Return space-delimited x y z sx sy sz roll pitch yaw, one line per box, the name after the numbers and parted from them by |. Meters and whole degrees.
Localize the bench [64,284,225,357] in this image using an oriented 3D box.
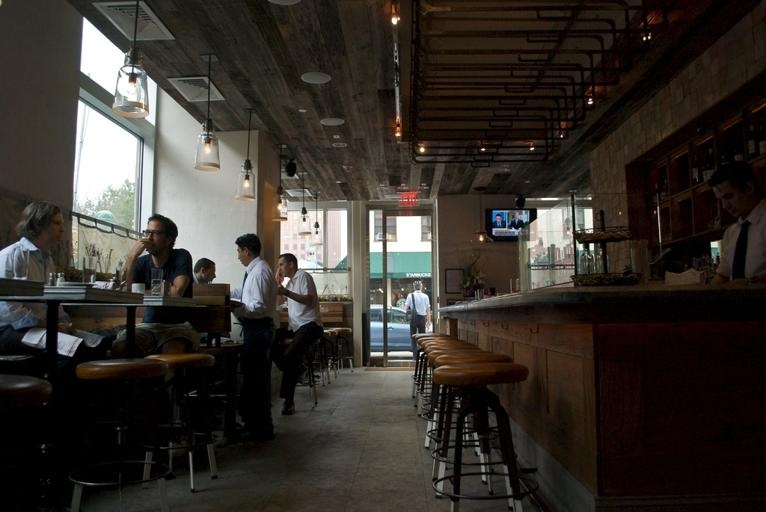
-1.902 0.596 4.922 1.107 0.487 0.727 0 -10 -4 | bench

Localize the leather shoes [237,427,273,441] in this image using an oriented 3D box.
-1.283 1.757 5.570 0.379 0.121 0.198 -2 -6 9 | leather shoes

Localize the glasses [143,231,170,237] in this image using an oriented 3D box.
-1.993 -0.191 4.942 0.204 0.061 0.111 0 -6 -14 | glasses

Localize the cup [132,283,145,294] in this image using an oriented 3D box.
-1.912 0.251 4.360 0.104 0.074 0.102 0 -3 0 | cup

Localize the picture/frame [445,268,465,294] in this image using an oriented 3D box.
1.522 0.536 11.789 0.548 0.649 0.029 1 -7 0 | picture/frame

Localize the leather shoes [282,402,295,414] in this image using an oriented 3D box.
-1.142 1.812 6.685 0.091 0.110 0.164 2 12 -4 | leather shoes

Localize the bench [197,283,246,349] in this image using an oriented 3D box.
-1.628 0.572 5.607 0.501 0.643 0.708 0 -5 -4 | bench

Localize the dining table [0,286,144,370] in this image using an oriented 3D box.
-2.047 0.598 3.739 0.562 0.506 0.988 0 -8 2 | dining table

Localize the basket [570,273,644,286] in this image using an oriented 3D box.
1.452 0.150 3.649 0.401 0.071 0.132 -4 -7 24 | basket

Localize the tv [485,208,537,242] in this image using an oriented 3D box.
2.654 -0.674 11.874 1.177 0.697 0.117 0 -1 -24 | tv

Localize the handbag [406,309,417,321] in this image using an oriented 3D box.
0.633 1.331 12.550 0.282 0.347 0.199 0 -15 6 | handbag

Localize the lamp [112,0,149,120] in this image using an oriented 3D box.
-2.166 -1.503 4.812 0.263 0.574 0.305 3 -7 -33 | lamp

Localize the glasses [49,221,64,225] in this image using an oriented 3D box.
-2.671 -0.270 4.569 0.065 0.021 0.062 -5 1 5 | glasses

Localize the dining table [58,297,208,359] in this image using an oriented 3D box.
-2.032 0.608 4.828 1.034 0.485 0.649 -1 -15 0 | dining table

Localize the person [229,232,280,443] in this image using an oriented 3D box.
-1.335 0.781 5.830 0.425 2.083 0.545 0 -6 -10 | person
